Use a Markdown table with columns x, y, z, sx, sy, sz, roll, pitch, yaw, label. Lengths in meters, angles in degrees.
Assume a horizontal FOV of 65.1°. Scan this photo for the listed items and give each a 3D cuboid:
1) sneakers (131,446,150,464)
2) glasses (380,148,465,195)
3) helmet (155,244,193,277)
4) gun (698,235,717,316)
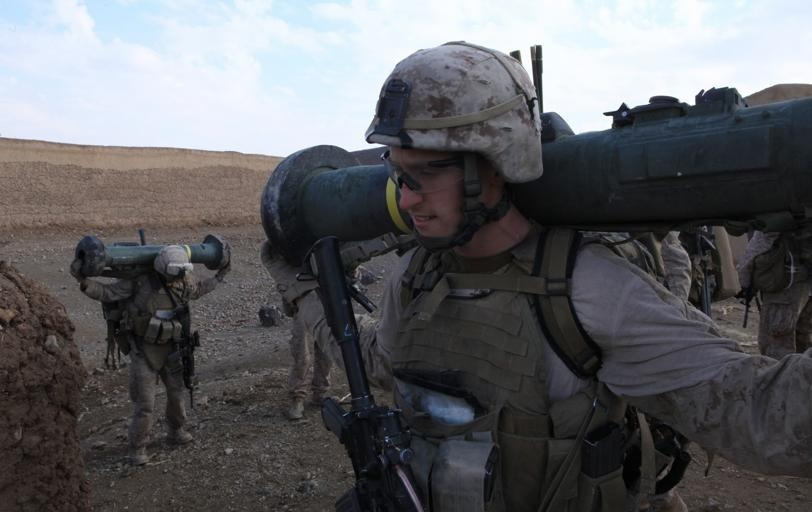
| x | y | z | sx | sy | sz | roll | pitch | yaw | label |
| --- | --- | --- | --- | --- | --- | --- | --- | --- | --- |
| -2.427 | 1.827 | 5.774 | 0.091 | 0.155 | 0.233 | 10 | -29 | -36 | sneakers |
| 0.035 | -0.351 | 2.674 | 0.237 | 0.239 | 0.096 | 8 | 33 | 34 | glasses |
| -2.165 | 0.047 | 6.086 | 0.352 | 0.298 | 0.267 | -10 | 6 | 30 | helmet |
| 2.176 | 0.116 | 4.601 | 0.105 | 0.606 | 0.224 | 2 | -1 | 4 | gun |
